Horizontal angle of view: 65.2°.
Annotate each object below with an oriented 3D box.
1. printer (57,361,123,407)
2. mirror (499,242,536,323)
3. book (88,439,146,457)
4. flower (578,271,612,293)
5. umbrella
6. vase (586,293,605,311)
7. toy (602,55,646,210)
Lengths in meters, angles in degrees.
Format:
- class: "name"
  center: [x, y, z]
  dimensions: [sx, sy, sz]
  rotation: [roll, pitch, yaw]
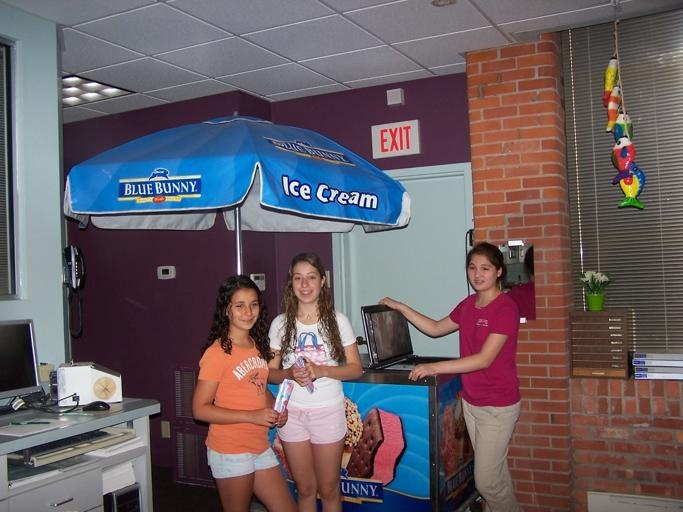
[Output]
- class: "printer"
  center: [-1.667, 0.826, 3.468]
  dimensions: [0.312, 0.215, 0.311]
  rotation: [0, -1, -21]
- class: "mirror"
  center: [1.506, 0.234, 4.604]
  dimensions: [0.309, 0.737, 0.063]
  rotation: [-6, 15, 7]
- class: "book"
  center: [-1.408, 1.179, 3.279]
  dimensions: [0.147, 0.036, 0.154]
  rotation: [-2, 1, 23]
- class: "flower"
  center: [2.166, 0.215, 4.525]
  dimensions: [0.207, 0.149, 0.210]
  rotation: [0, 0, 0]
- class: "umbrella"
  center: [-0.916, -0.412, 4.599]
  dimensions: [2.334, 1.115, 3.282]
  rotation: [-3, -2, -17]
- class: "vase"
  center: [2.155, 0.392, 4.483]
  dimensions: [0.147, 0.117, 0.134]
  rotation: [3, -6, -7]
- class: "toy"
  center: [2.362, -1.039, 4.453]
  dimensions: [0.258, 1.294, 0.478]
  rotation: [-4, -2, 31]
